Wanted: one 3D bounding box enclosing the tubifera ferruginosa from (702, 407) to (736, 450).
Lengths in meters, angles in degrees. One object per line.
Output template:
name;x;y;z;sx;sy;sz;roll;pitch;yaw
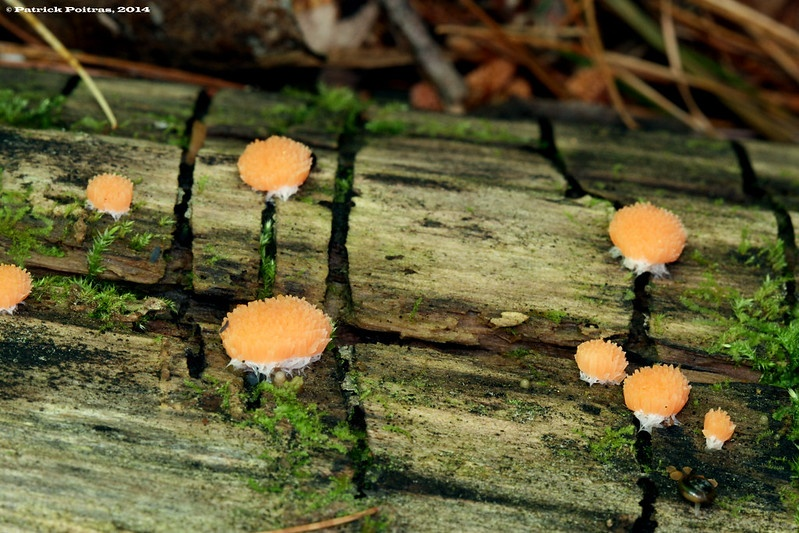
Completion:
tubifera ferruginosa;1.566;0.802;4.354;0.168;0.112;0.191;22;85;17

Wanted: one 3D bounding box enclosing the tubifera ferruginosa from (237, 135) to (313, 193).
tubifera ferruginosa;-0.652;-0.547;4.614;0.380;0.162;0.315;9;41;20

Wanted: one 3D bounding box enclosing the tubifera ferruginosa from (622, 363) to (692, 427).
tubifera ferruginosa;1.303;0.645;4.389;0.341;0.167;0.308;-17;60;-14

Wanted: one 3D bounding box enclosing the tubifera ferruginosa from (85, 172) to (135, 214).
tubifera ferruginosa;-1.486;-0.370;4.496;0.278;0.158;0.168;6;77;-21
